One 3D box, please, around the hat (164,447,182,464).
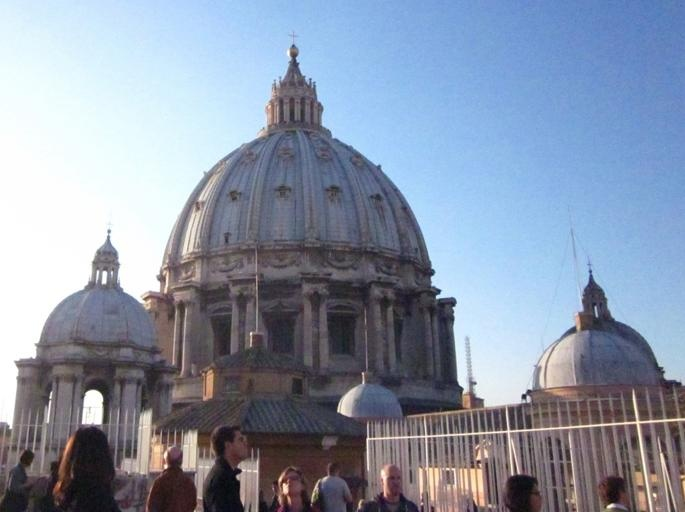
[{"bbox_3d":[-2.411,2.875,8.600,0.228,0.263,0.384,4,-22,-15],"label":"hat"}]
